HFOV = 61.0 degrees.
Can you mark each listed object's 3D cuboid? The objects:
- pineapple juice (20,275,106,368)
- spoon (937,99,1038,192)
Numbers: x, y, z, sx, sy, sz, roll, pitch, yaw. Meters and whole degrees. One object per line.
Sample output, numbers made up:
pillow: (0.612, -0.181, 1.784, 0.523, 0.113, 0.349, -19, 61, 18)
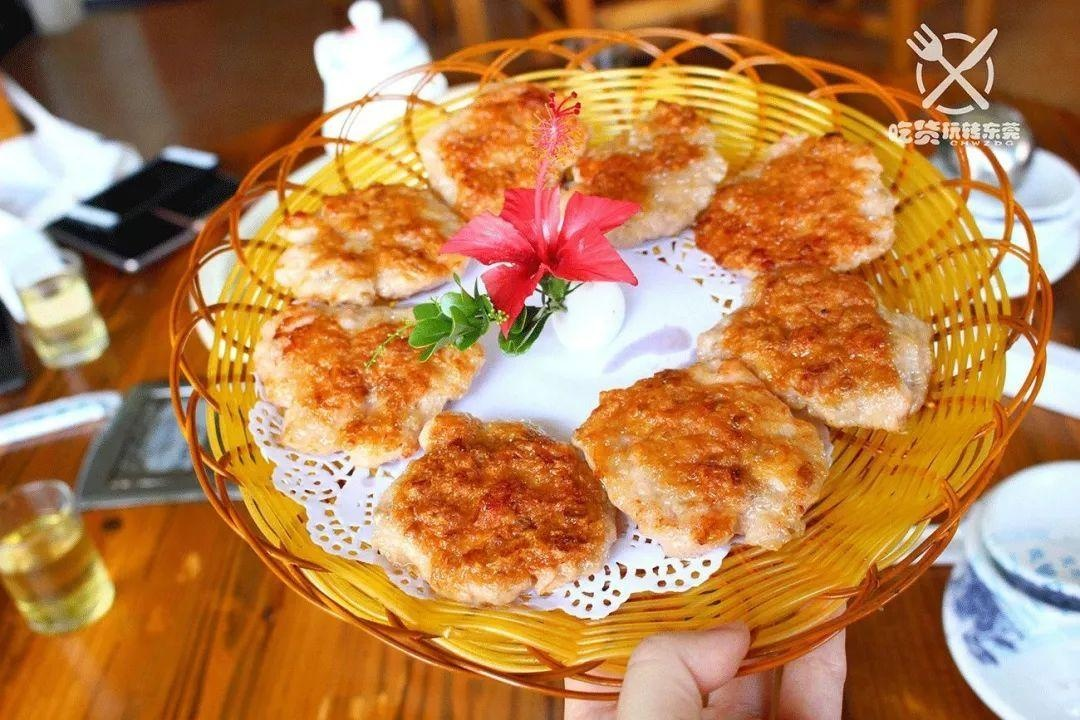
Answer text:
pineapple juice: (-1.816, -0.139, 3.500, 0.218, 0.199, 0.364, -22, 87, 2)
spoon: (1.651, -0.785, 3.386, 0.323, 0.341, 0.185, -7, 7, 6)
